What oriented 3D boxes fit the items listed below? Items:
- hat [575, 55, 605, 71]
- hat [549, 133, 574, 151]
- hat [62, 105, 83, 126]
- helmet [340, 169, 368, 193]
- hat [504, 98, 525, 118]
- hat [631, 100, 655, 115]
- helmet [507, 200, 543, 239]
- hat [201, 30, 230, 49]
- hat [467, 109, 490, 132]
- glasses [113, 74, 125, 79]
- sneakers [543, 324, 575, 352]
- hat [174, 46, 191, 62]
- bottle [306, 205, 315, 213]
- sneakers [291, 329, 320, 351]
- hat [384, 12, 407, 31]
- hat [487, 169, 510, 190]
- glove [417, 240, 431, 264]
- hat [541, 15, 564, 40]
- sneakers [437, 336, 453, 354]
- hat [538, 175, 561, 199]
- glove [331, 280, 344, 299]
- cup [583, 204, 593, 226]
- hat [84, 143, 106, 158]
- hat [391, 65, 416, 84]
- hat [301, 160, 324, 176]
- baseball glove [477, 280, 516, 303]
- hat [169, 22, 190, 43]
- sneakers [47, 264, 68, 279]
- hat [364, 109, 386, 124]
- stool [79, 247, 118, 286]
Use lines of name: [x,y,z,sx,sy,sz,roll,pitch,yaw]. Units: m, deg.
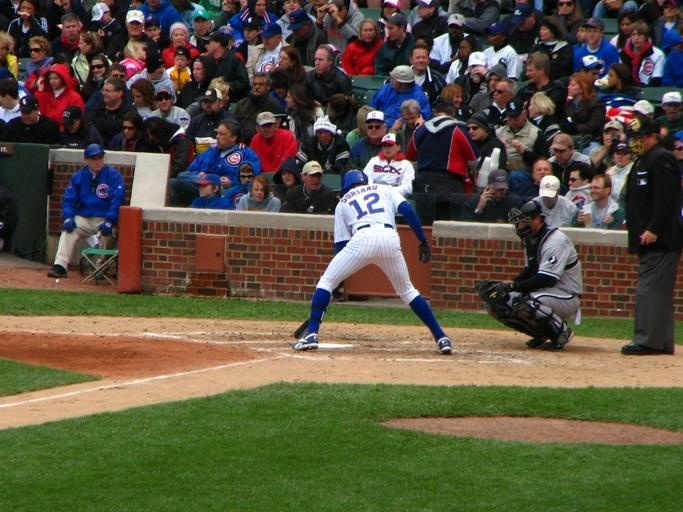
hat: [4.123,-3.241,29.095,0.235,0.206,0.353,-14,13,-43]
hat: [3.460,-1.835,27.299,0.334,0.244,0.336,4,0,6]
hat: [-4.613,-2.420,29.717,0.231,0.199,0.332,5,18,23]
helmet: [0.147,-1.107,24.921,0.346,0.327,0.468,3,1,-41]
hat: [2.761,-2.390,27.869,0.308,0.275,0.277,4,0,22]
hat: [4.743,-2.365,27.438,0.281,0.241,0.380,4,0,7]
helmet: [2.659,-0.636,24.867,0.508,0.495,0.404,12,32,26]
hat: [-2.247,-3.926,30.867,0.537,0.326,0.403,10,3,-2]
hat: [2.208,-2.209,27.903,0.325,0.234,0.253,11,-10,-8]
glasses: [-3.963,-3.209,30.785,0.154,0.082,0.205,-2,-7,-8]
sneakers: [3.112,1.120,24.878,0.232,0.533,0.237,19,2,21]
hat: [-2.891,-3.698,31.605,0.237,0.190,0.243,0,9,-3]
bottle: [-0.511,-0.802,28.104,0.116,0.117,0.097,12,-17,13]
sneakers: [-0.560,1.140,24.445,0.437,0.245,0.164,-3,1,25]
hat: [0.950,-4.113,30.439,0.308,0.183,0.218,19,9,-11]
hat: [2.454,-1.242,27.311,0.332,0.310,0.213,4,0,6]
glove: [1.163,-0.104,24.670,0.173,0.305,0.085,-1,-11,-20]
hat: [3.560,-3.888,29.703,0.387,0.320,0.307,42,28,13]
sneakers: [1.441,1.202,24.319,0.119,0.153,0.324,-3,-10,-2]
hat: [3.201,-1.118,26.812,0.292,0.335,0.352,3,0,3]
glove: [-0.058,0.485,28.229,0.228,0.272,0.234,-1,7,-5]
cup: [3.857,-0.711,27.190,0.158,0.327,0.089,3,0,7]
hat: [-4.117,-1.760,28.750,0.204,0.166,0.270,-16,2,-36]
hat: [1.010,-3.042,29.141,0.350,0.262,0.190,9,-38,1]
hat: [-0.499,-1.442,27.809,0.331,0.234,0.339,4,0,12]
baseball glove: [2.130,0.436,24.696,0.290,0.193,0.402,-14,12,-38]
hat: [-3.014,-4.171,32.293,0.314,0.372,0.439,-2,1,-2]
sneakers: [-4.706,0.206,28.929,0.144,0.202,0.396,-1,-8,43]
hat: [0.531,-2.284,28.166,0.289,0.217,0.358,4,0,-2]
stool: [-4.056,0.084,28.876,0.574,0.543,0.683,3,6,-1]
